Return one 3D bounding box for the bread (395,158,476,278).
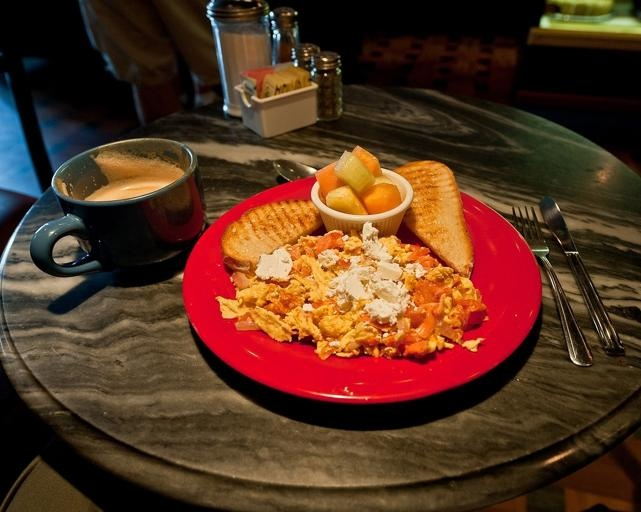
[{"bbox_3d":[0.229,-0.082,1.047,0.115,0.036,0.240,-21,44,-2],"label":"bread"}]

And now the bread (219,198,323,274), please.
[{"bbox_3d":[-0.096,-0.053,1.022,0.183,0.037,0.108,-33,56,-28],"label":"bread"}]

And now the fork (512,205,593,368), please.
[{"bbox_3d":[0.403,0.049,0.962,0.040,0.028,0.315,-5,49,-9],"label":"fork"}]
